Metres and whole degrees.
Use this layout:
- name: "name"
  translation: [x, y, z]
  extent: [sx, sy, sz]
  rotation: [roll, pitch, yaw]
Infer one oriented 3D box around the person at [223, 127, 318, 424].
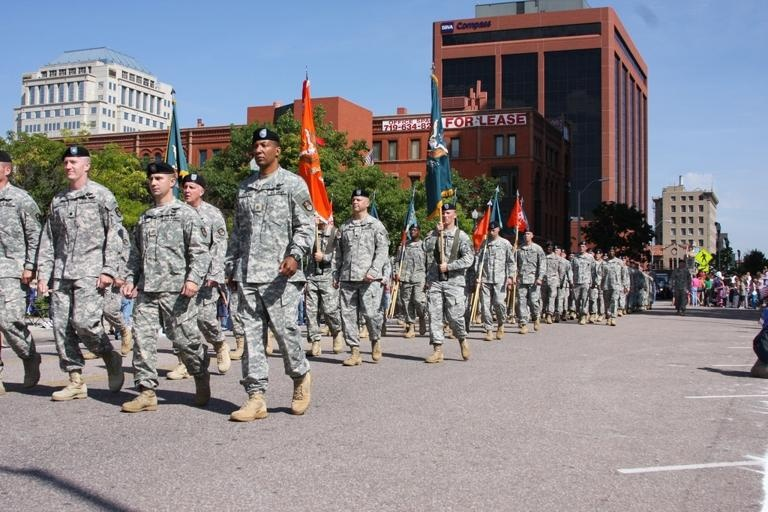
- name: "person"
  translation: [-1.288, 0.190, 8.967]
  extent: [0.986, 3.300, 0.898]
  rotation: [1, 3, -3]
